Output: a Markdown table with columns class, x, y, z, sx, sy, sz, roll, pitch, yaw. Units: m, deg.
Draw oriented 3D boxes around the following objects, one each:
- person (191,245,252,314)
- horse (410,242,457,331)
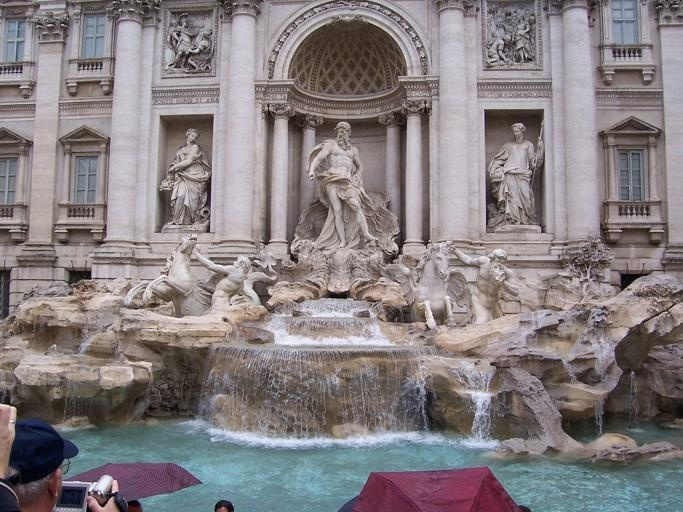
| class | x | y | z | sx | sy | sz | roll | pitch | yaw |
| --- | --- | --- | --- | --- | --- | --- | --- | --- | --- |
| person | -3.183 | 0.650 | 17.481 | 1.263 | 1.822 | 0.762 | 17 | -29 | 11 |
| horse | 2.513 | 0.558 | 17.190 | 0.871 | 2.037 | 3.064 | 6 | 4 | 3 |
